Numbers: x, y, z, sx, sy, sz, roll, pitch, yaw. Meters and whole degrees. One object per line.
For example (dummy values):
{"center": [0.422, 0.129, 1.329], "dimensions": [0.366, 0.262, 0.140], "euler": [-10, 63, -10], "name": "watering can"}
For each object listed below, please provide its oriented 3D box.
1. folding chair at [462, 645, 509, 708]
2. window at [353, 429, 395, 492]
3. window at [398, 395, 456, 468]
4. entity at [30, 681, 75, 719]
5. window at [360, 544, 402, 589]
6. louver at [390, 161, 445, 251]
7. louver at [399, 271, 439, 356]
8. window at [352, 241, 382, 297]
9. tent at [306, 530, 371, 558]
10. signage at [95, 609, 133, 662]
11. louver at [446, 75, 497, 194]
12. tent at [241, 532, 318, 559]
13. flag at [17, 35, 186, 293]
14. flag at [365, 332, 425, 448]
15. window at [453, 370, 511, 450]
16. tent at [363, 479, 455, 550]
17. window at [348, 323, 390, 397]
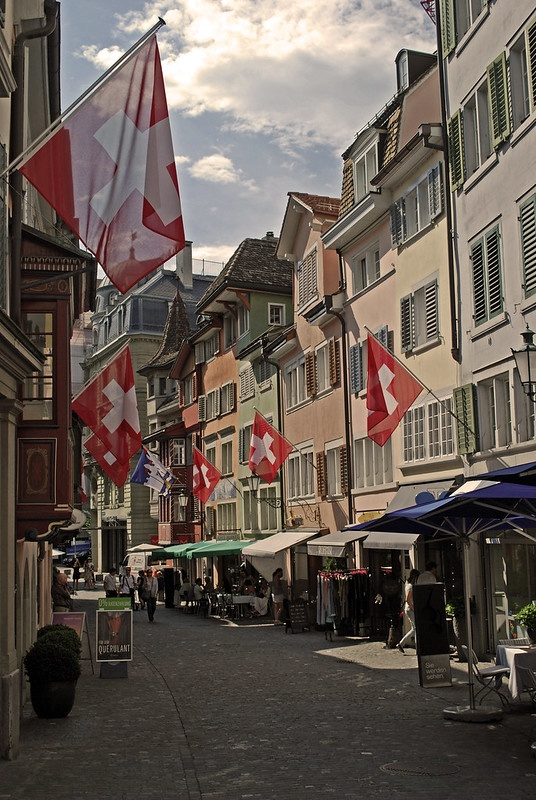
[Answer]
{"center": [2.832, 3.577, 11.716], "dimensions": [0.516, 0.787, 0.492], "euler": [-7, -11, 11], "name": "folding chair"}
{"center": [2.832, 1.665, 24.829], "dimensions": [0.193, 1.396, 1.790], "euler": [4, -8, -34], "name": "window"}
{"center": [3.541, 0.660, 20.285], "dimensions": [0.044, 1.319, 1.998], "euler": [3, -10, -25], "name": "window"}
{"center": [-2.743, 3.870, 11.676], "dimensions": [0.464, 0.424, 0.495], "euler": [9, -26, -40], "name": "entity"}
{"center": [2.877, 4.246, 22.965], "dimensions": [0.761, 1.545, 1.501], "euler": [6, -22, -12], "name": "window"}
{"center": [3.481, -4.516, 21.024], "dimensions": [0.246, 1.404, 2.168], "euler": [2, -14, -15], "name": "louver"}
{"center": [3.505, -1.979, 20.852], "dimensions": [0.198, 1.568, 1.467], "euler": [5, -11, -24], "name": "louver"}
{"center": [2.872, -3.685, 25.522], "dimensions": [0.148, 1.128, 1.501], "euler": [9, 33, 42], "name": "window"}
{"center": [1.668, 3.814, 23.978], "dimensions": [1.479, 0.431, 1.645], "euler": [-10, -7, 39], "name": "tent"}
{"center": [-2.760, 4.252, 16.369], "dimensions": [0.817, 1.321, 0.046], "euler": [-1, 2, -2], "name": "signage"}
{"center": [4.088, -5.289, 17.766], "dimensions": [0.246, 2.026, 1.938], "euler": [7, -7, -10], "name": "louver"}
{"center": [0.449, 4.867, 30.209], "dimensions": [0.988, 0.584, 2.309], "euler": [-7, -10, -16], "name": "tent"}
{"center": [-1.638, -2.666, 9.459], "dimensions": [1.792, 3.307, 0.184], "euler": [7, -18, -24], "name": "flag"}
{"center": [2.363, -0.347, 17.363], "dimensions": [1.260, 2.300, 0.040], "euler": [1, 32, 24], "name": "flag"}
{"center": [3.922, 0.371, 17.349], "dimensions": [0.173, 1.345, 1.724], "euler": [-13, -5, 34], "name": "window"}
{"center": [3.108, 2.454, 20.081], "dimensions": [1.397, 1.491, 2.812], "euler": [4, -22, -16], "name": "tent"}
{"center": [2.418, -0.975, 21.700], "dimensions": [0.278, 2.624, 1.664], "euler": [4, -6, -13], "name": "window"}
